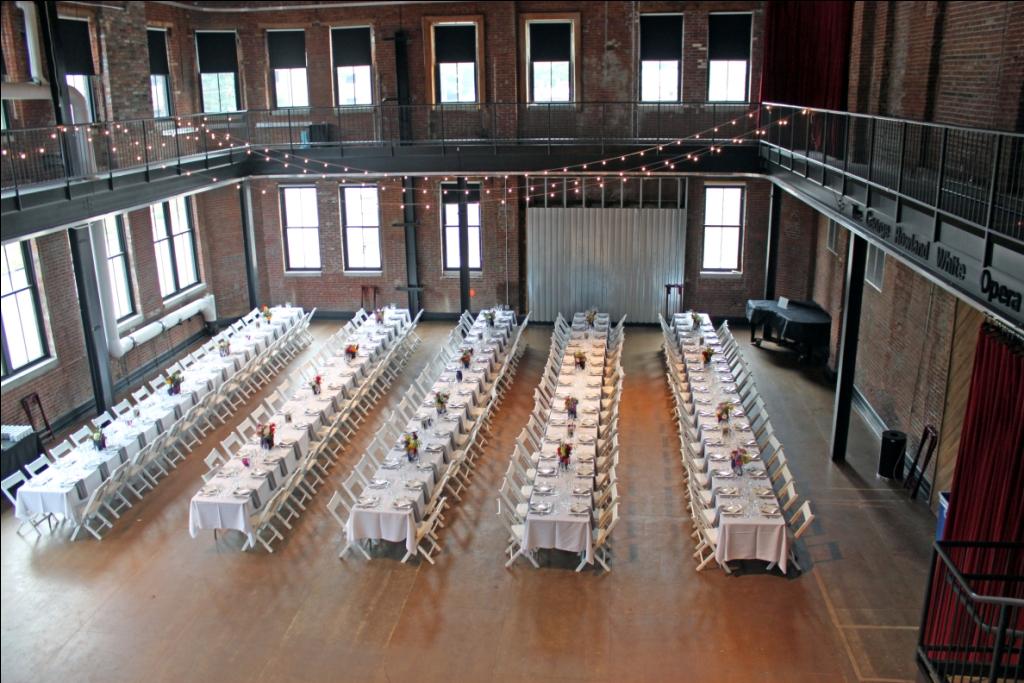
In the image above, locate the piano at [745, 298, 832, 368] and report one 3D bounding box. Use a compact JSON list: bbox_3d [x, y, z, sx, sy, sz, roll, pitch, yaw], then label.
[{"bbox_3d":[7.763,-0.295,18.761,1.834,1.314,2.606,-3,18,-6],"label":"piano"}]
